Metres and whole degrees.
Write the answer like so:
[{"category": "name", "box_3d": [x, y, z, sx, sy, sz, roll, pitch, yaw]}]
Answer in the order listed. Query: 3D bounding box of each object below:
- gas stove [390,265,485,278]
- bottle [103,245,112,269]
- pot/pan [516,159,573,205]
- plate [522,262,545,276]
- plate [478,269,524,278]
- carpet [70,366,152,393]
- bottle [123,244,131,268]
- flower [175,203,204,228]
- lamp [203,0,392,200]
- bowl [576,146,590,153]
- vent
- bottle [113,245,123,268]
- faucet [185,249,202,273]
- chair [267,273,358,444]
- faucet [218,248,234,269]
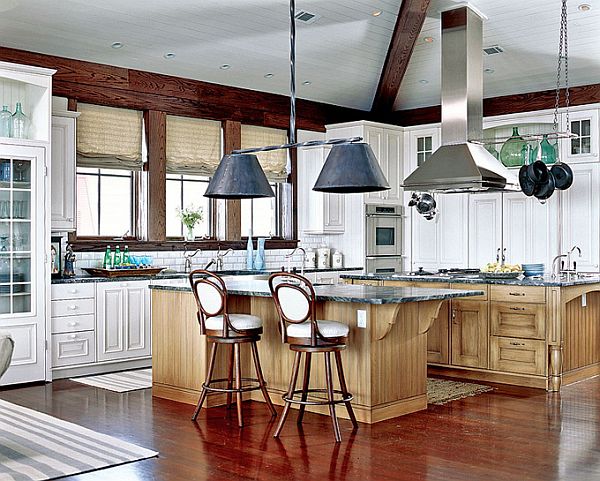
[{"category": "gas stove", "box_3d": [1.748, 0.370, 6.144, 0.784, 0.101, 0.654, -1, -3, 10]}, {"category": "bottle", "box_3d": [-2.256, 0.181, 6.073, 0.098, 0.286, 0.482, 1, -3, -20]}, {"category": "pot/pan", "box_3d": [2.707, -0.691, 5.780, 0.620, 0.405, 0.317, 2, -3, -32]}, {"category": "plate", "box_3d": [2.614, 0.333, 5.850, 0.197, 0.138, 0.280, -2, -4, 39]}, {"category": "plate", "box_3d": [2.176, 0.368, 5.611, 0.372, 0.063, 0.196, 0, -3, 4]}, {"category": "carpet", "box_3d": [-1.846, 1.439, 5.336, 0.838, 0.026, 0.966, 2, -4, -34]}, {"category": "bottle", "box_3d": [-2.092, 0.180, 6.229, 0.080, 0.276, 0.384, 1, -3, -18]}, {"category": "flower", "box_3d": [-1.503, -0.343, 7.069, 0.321, 0.329, 0.315, 3, -3, -19]}, {"category": "lamp", "box_3d": [-0.108, -1.800, 6.432, 2.453, 2.740, 0.832, -3, -3, 33]}, {"category": "bowl", "box_3d": [3.830, -1.226, 7.008, 0.152, 0.115, 0.034, -1, -3, 25]}, {"category": "vent", "box_3d": [1.788, -1.599, 5.725, 1.003, 2.184, 1.013, -2, -3, 33]}, {"category": "bottle", "box_3d": [-2.175, 0.178, 6.172, 0.099, 0.275, 0.421, 1, -3, -20]}, {"category": "faucet", "box_3d": [-1.423, 0.249, 6.787, 0.200, 0.301, 0.493, 0, -3, -6]}, {"category": "chair", "box_3d": [0.092, 0.797, 3.828, 0.654, 1.136, 0.995, 0, -3, 6]}, {"category": "faucet", "box_3d": [-1.048, 0.248, 7.232, 0.124, 0.306, 0.354, -1, -3, 24]}]
